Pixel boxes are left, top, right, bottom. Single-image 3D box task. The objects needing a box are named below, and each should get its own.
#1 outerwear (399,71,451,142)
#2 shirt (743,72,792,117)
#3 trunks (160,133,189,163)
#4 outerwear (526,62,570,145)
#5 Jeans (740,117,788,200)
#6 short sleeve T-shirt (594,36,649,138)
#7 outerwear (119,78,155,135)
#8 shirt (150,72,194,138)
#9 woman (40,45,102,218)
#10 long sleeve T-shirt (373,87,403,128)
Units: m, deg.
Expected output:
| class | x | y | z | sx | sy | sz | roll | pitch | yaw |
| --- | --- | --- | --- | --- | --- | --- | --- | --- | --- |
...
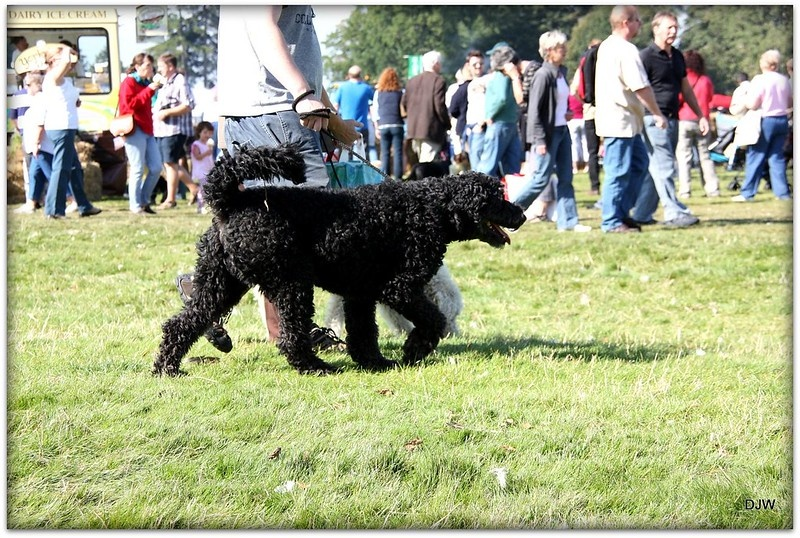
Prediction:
| class | x | y | z | sx | sy | sz | roll | pitch | yaw |
| --- | --- | --- | --- | --- | --- | --- | --- | --- | --- |
| outerwear | 0.451 | -2.885 | 20.744 | 0.772 | 1.272 | 0.655 | 0 | 5 | 10 |
| shirt | 6.340 | -2.999 | 20.112 | 0.778 | 0.763 | 0.441 | 1 | 10 | 1 |
| trunks | -3.993 | -2.141 | 20.634 | 0.608 | 0.449 | 0.427 | 3 | 1 | 7 |
| outerwear | 2.292 | -2.577 | 18.218 | 0.629 | 1.338 | 1.219 | 2 | 9 | 17 |
| Jeans | 6.396 | -2.060 | 20.487 | 0.957 | 1.656 | 0.670 | -6 | 19 | -6 |
| short sleeve T-shirt | 3.304 | -2.832 | 17.651 | 0.683 | 1.529 | 1.574 | -6 | 13 | -18 |
| outerwear | -4.409 | -2.778 | 19.647 | 0.690 | 1.024 | 0.797 | 1 | 7 | -1 |
| shirt | -4.024 | -2.912 | 20.478 | 0.641 | 1.107 | 1.124 | -4 | 11 | -37 |
| woman | -5.146 | -2.164 | 18.251 | 0.934 | 2.757 | 1.122 | 0 | 3 | -6 |
| long sleeve T-shirt | -0.192 | -3.052 | 22.124 | 0.453 | 0.660 | 0.380 | 0 | 5 | 1 |
